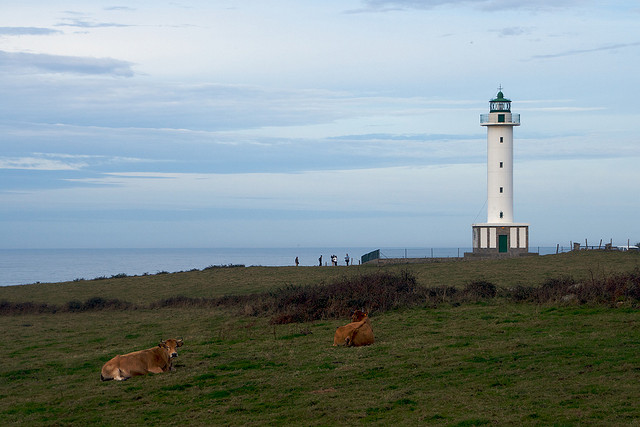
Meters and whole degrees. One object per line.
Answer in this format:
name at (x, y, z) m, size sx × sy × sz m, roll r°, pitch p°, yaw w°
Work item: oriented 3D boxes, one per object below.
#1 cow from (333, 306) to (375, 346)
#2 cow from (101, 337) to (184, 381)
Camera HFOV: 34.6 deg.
cow at (1.618, 5.288, 47.527) m, size 1.066 × 1.060 × 2.405 m, roll 2°, pitch 10°, yaw 9°
cow at (-7.933, 6.493, 45.361) m, size 4.357 × 1.524 × 1.418 m, roll -9°, pitch 0°, yaw -17°
